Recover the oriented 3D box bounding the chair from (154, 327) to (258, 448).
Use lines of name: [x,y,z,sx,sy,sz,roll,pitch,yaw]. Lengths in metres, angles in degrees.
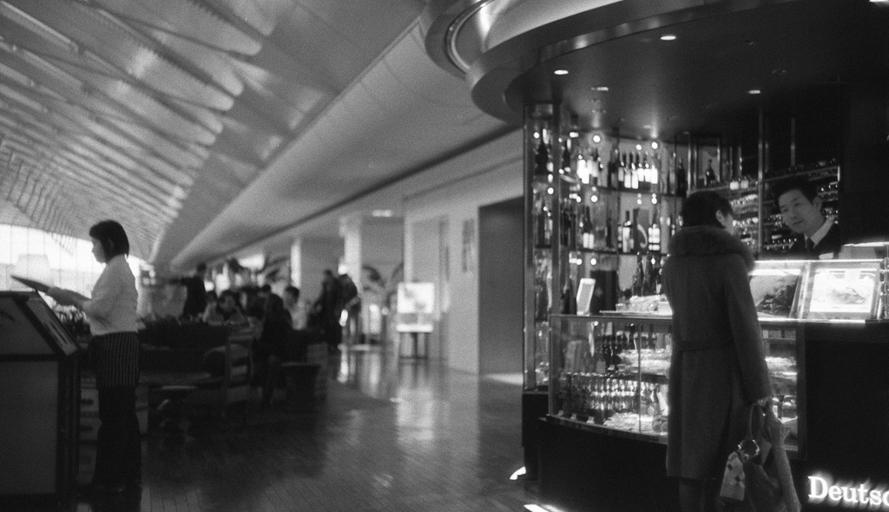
chair: [-3.570,1.841,9.018,1.228,1.602,0.796,-2,-4,3]
